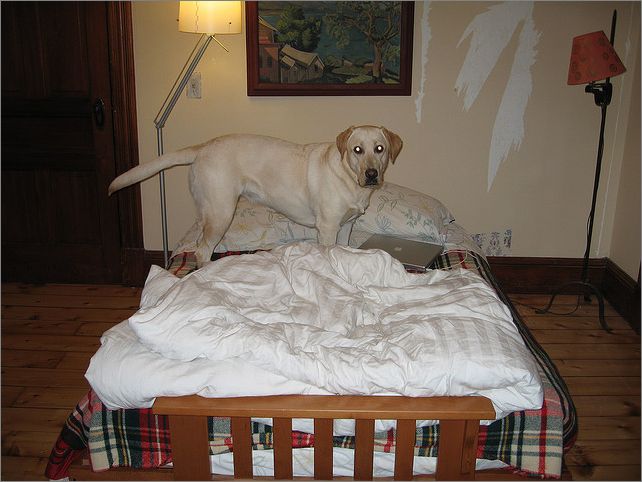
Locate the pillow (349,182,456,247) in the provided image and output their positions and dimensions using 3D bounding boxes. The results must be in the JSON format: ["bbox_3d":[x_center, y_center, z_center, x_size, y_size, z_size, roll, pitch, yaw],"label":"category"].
[{"bbox_3d":[0.521,-0.154,3.061,0.423,0.125,0.459,18,55,5],"label":"pillow"}]

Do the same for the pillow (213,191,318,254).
[{"bbox_3d":[-0.346,-0.099,3.012,0.407,0.108,0.391,5,51,-2],"label":"pillow"}]

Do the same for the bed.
[{"bbox_3d":[0.038,0.305,2.600,2.013,0.944,1.696,2,15,2],"label":"bed"}]
